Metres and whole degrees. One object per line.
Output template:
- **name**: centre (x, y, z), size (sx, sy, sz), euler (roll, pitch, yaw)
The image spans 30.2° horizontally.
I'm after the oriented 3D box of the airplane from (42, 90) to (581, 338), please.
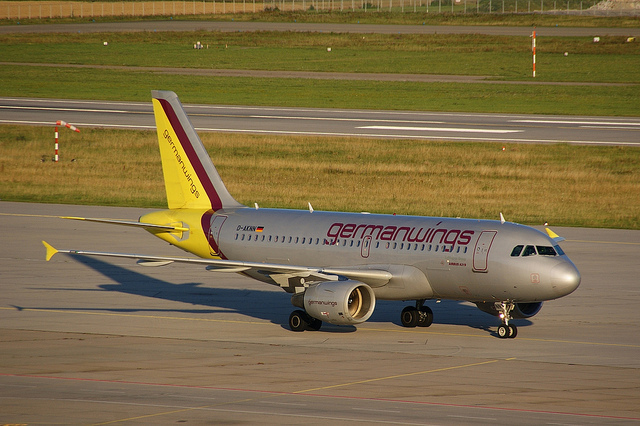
- **airplane**: centre (2.335, 0.694, 81.455), size (23.712, 6.556, 25.115), euler (3, 6, 36)
